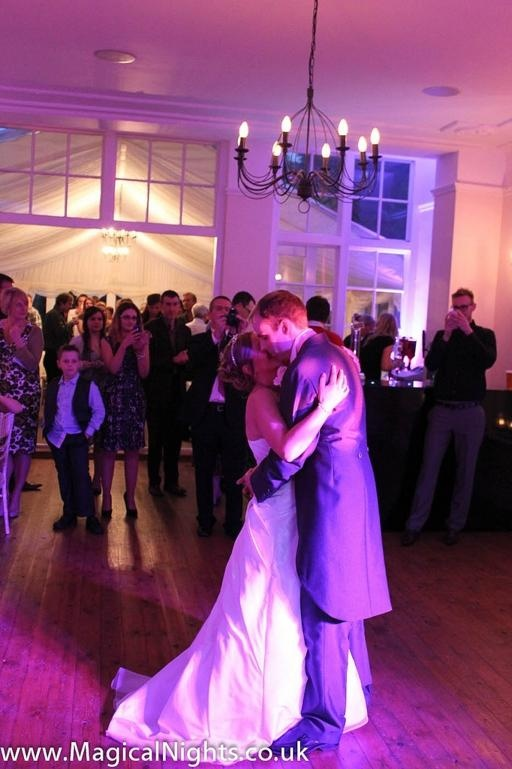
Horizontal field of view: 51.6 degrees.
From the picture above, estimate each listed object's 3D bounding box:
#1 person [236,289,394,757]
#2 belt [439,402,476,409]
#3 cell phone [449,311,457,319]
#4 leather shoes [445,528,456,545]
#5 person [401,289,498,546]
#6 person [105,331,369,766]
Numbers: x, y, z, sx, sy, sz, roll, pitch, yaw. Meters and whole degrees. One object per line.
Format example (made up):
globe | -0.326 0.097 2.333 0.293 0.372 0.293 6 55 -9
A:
person | 0.190 0.390 1.370 0.458 0.838 0.292 4 -1 -38
belt | 1.391 0.149 3.638 0.245 0.050 0.085 3 -1 21
cell phone | 1.345 -0.477 3.614 0.035 0.059 0.061 3 -1 13
leather shoes | 1.346 1.060 3.648 0.062 0.094 0.113 2 -1 43
person | 1.361 0.216 3.699 0.704 1.771 0.401 3 -1 -30
person | -0.010 0.410 1.965 0.949 1.570 0.797 -3 7 -14
